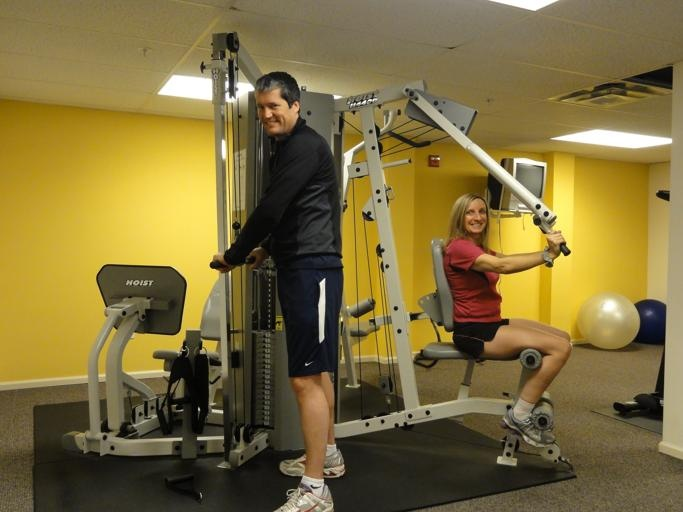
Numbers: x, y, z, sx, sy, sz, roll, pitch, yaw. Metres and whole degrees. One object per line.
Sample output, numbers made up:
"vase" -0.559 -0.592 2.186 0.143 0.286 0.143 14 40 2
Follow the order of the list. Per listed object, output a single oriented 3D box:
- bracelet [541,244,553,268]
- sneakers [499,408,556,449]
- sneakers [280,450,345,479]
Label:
"bracelet" 1.236 0.004 3.291 0.045 0.131 0.081 4 -8 -38
"sneakers" 1.179 1.089 3.555 0.357 0.177 0.174 23 22 16
"sneakers" -0.166 1.284 3.475 0.410 0.191 0.178 2 -6 -3
